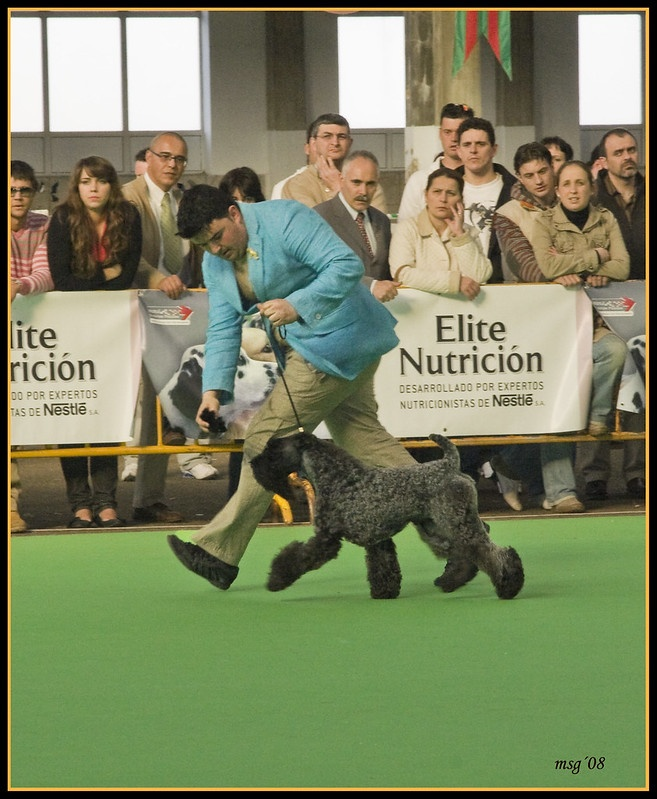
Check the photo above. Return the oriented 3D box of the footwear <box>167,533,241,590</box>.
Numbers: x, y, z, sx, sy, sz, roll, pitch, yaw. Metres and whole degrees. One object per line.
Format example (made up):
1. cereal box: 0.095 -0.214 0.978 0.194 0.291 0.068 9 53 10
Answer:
1. footwear: -0.543 0.730 3.999 0.329 0.141 0.108 36 32 -2

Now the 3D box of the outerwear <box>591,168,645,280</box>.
1. outerwear: 2.108 -1.231 6.415 0.485 0.695 0.240 -3 -7 15

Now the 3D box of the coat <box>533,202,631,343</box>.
1. coat: 1.682 -0.839 6.103 0.779 0.831 0.238 -4 -11 -3

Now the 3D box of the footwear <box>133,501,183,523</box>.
1. footwear: -1.143 0.761 5.978 0.334 0.107 0.130 -1 -2 5

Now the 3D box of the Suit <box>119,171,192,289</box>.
1. Suit: -1.136 -1.082 5.934 0.797 0.725 0.239 -2 7 -8

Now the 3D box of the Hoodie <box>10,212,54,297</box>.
1. Hoodie: -1.880 -0.897 5.716 0.350 0.501 0.148 -5 -20 1

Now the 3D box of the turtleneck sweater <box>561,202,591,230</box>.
1. turtleneck sweater: 1.669 -1.216 5.989 0.207 0.137 0.174 -6 16 -18

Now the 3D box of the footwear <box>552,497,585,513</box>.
1. footwear: 1.596 0.698 5.879 0.103 0.076 0.188 3 -9 -13

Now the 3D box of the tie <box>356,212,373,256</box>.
1. tie: 0.243 -1.078 5.807 0.056 0.313 0.044 -18 11 9

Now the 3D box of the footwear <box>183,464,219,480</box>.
1. footwear: -1.153 0.658 8.078 0.313 0.103 0.134 -3 10 23

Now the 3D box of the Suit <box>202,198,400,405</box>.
1. Suit: -0.148 -0.420 3.821 0.837 0.817 0.516 -1 1 5

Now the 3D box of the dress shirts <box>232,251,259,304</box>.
1. dress shirts: -0.354 -0.502 3.779 0.146 0.116 0.171 -12 31 3

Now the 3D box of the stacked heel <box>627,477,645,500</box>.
1. stacked heel: 2.208 0.644 6.409 0.068 0.171 0.126 -4 29 10

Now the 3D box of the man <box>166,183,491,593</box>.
1. man: 0.346 -0.332 4.816 2.105 2.208 1.147 -5 9 -4

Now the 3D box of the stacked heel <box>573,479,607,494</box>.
1. stacked heel: 1.901 0.647 6.491 0.206 0.169 0.133 -4 -1 41

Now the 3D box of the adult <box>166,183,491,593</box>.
1. adult: 0.369 -0.345 4.818 2.105 2.208 1.147 -5 9 -4

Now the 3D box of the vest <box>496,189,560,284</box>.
1. vest: 1.304 -1.098 6.062 0.567 0.545 0.186 -5 -6 -13

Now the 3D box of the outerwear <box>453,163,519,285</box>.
1. outerwear: 1.115 -1.200 6.249 0.645 0.721 0.285 1 -7 1
